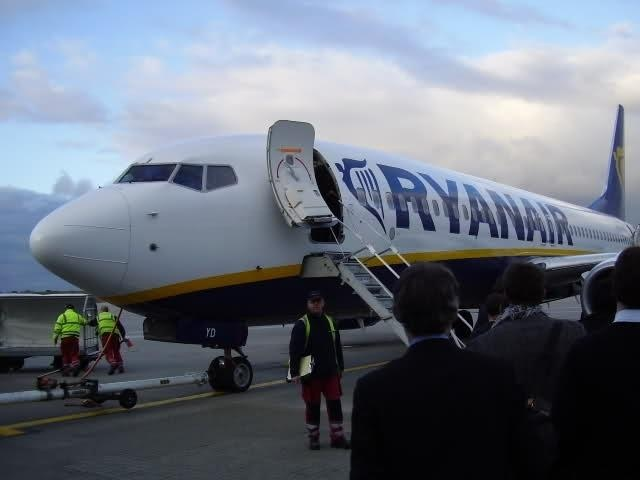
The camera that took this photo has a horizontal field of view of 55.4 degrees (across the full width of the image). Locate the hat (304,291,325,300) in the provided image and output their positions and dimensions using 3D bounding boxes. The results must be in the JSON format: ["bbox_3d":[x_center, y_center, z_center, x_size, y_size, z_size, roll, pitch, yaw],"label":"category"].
[{"bbox_3d":[-0.072,0.770,8.448,0.257,0.129,0.397,-2,-7,-1],"label":"hat"}]

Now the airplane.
[{"bbox_3d":[-0.355,0.464,9.568,6.187,2.638,6.339,-6,-8,40],"label":"airplane"}]

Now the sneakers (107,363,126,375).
[{"bbox_3d":[-4.664,2.947,13.976,0.203,0.226,0.539,0,-6,-31],"label":"sneakers"}]
